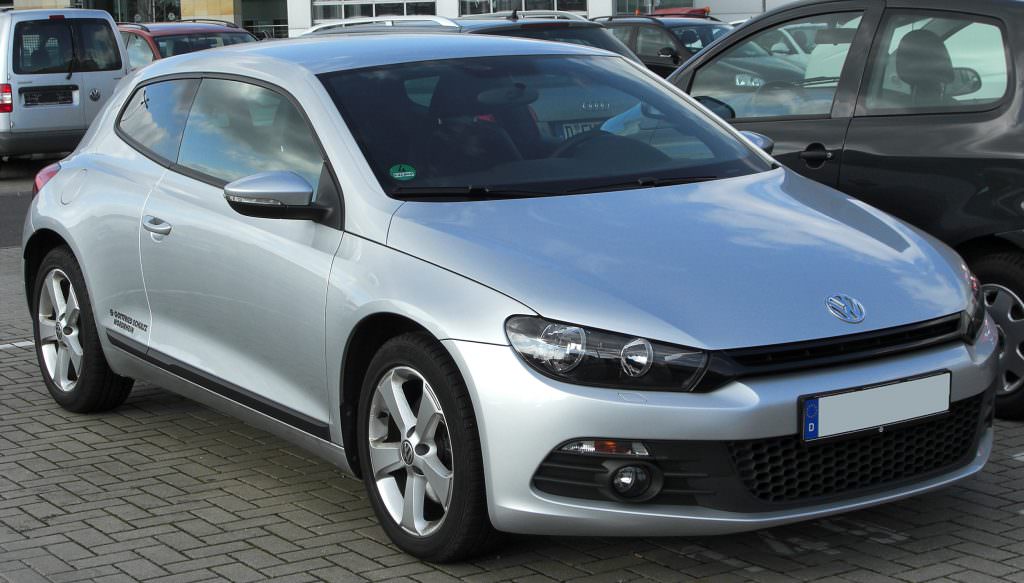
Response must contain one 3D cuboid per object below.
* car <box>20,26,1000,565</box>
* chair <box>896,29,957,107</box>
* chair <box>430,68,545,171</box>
[{"bbox_3d":[-0.596,-0.247,4.894,5.380,1.575,3.118,10,14,42],"label":"car"},{"bbox_3d":[2.887,-1.631,5.698,0.538,0.489,0.623,6,18,13],"label":"chair"},{"bbox_3d":[-0.160,-1.036,4.627,0.606,0.310,0.736,-8,34,-18],"label":"chair"}]
